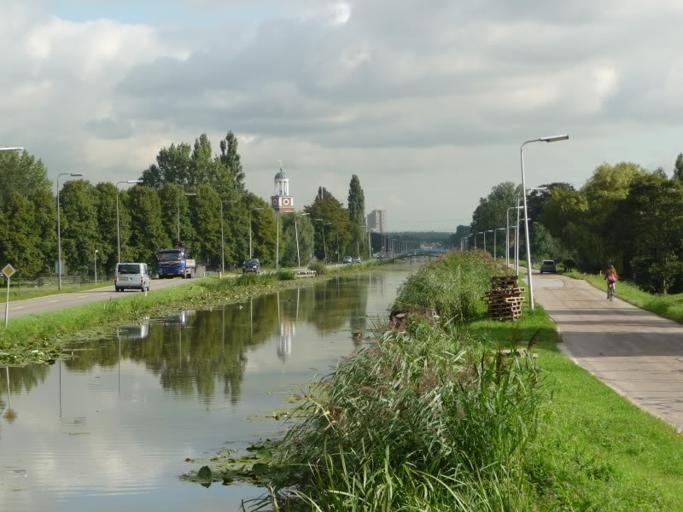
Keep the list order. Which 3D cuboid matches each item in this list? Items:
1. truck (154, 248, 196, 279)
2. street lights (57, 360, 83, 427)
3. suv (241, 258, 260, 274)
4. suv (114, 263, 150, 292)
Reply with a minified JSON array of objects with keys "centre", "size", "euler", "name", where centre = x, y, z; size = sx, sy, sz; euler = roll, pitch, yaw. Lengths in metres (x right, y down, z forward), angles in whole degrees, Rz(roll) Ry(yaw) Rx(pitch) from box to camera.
[{"centre":[-12.915,0.652,68.050],"size":[1.267,1.732,3.945],"euler":[-2,-5,4],"name":"truck"},{"centre":[-6.766,3.344,21.421],"size":[0.497,0.149,5.368],"euler":[-15,11,-16],"name":"street lights"},{"centre":[-8.772,0.951,83.299],"size":[0.936,0.911,2.270],"euler":[0,13,4],"name":"suv"},{"centre":[-11.706,1.149,49.595],"size":[1.212,1.293,2.209],"euler":[-1,1,5],"name":"suv"}]
